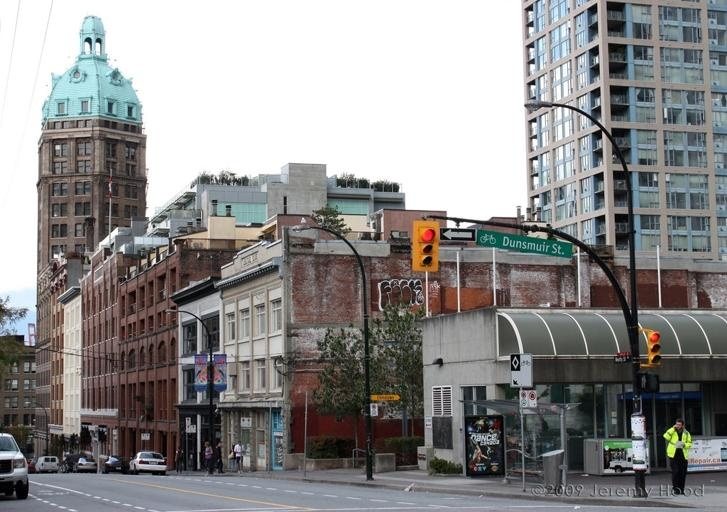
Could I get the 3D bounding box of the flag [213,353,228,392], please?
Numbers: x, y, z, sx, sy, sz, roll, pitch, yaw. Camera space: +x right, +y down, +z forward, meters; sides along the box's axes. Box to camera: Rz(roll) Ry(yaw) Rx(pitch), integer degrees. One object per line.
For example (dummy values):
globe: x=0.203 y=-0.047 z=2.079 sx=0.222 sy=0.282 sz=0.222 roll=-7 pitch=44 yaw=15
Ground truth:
flag: x=-12.258 y=9.810 z=136.362 sx=1.121 sy=2.906 sz=0.938 roll=-1 pitch=-13 yaw=-11

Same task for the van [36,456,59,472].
van: x=-31.788 y=20.937 z=161.509 sx=1.606 sy=1.131 sz=2.859 roll=1 pitch=-1 yaw=-19
